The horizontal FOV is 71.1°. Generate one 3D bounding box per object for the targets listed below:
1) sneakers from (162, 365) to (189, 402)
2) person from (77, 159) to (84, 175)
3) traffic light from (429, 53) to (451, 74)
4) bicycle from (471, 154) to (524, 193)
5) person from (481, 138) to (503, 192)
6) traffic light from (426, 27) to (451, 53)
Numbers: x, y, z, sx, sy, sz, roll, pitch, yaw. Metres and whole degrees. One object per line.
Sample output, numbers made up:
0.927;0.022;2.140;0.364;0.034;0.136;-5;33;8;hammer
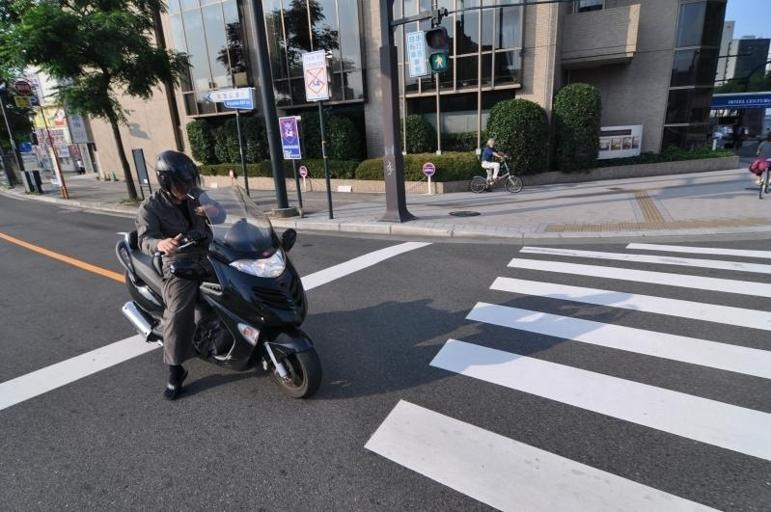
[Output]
-3.247;1.910;8.329;0.222;0.658;0.251;8;6;18;sneakers
-25.010;-7.449;44.409;0.483;0.979;0.841;-12;21;-22;person
1.344;-4.753;13.343;0.457;0.567;0.399;1;14;12;traffic light
3.980;-2.926;19.707;2.102;1.426;1.078;-3;25;6;bicycle
3.834;-3.410;19.377;0.729;1.691;1.346;0;20;12;person
1.255;-5.289;13.164;0.526;0.548;0.382;-4;19;1;traffic light
